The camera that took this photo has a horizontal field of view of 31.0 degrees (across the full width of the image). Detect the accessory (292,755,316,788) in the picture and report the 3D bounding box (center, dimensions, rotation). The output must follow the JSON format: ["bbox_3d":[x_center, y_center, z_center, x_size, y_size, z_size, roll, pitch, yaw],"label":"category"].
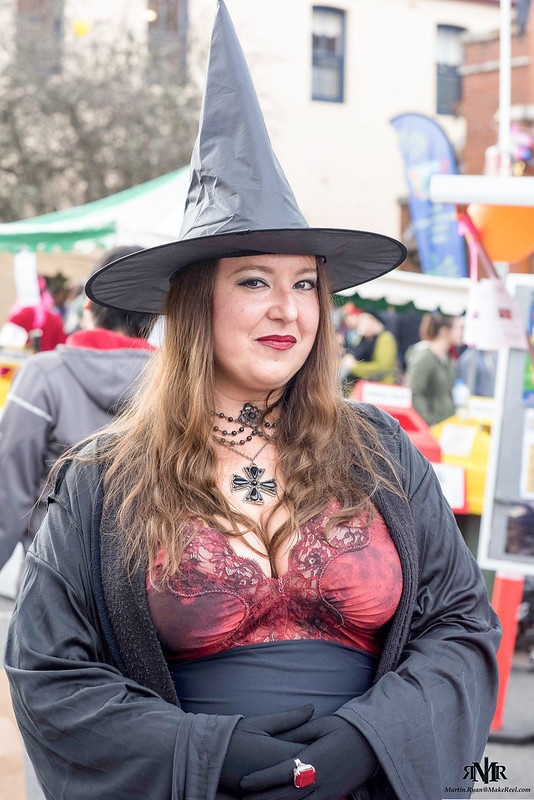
[{"bbox_3d":[0.063,0.659,1.705,0.034,0.024,0.045,-5,14,-25],"label":"accessory"}]

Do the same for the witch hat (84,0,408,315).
[{"bbox_3d":[-0.105,-0.421,2.361,0.863,0.723,0.719,-6,-16,-6],"label":"witch hat"}]

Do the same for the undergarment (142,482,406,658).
[{"bbox_3d":[-0.007,0.294,2.090,0.572,0.374,0.286,-4,-14,-11],"label":"undergarment"}]

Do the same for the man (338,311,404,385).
[{"bbox_3d":[1.011,-0.448,9.879,0.619,0.891,0.590,-3,14,8],"label":"man"}]
